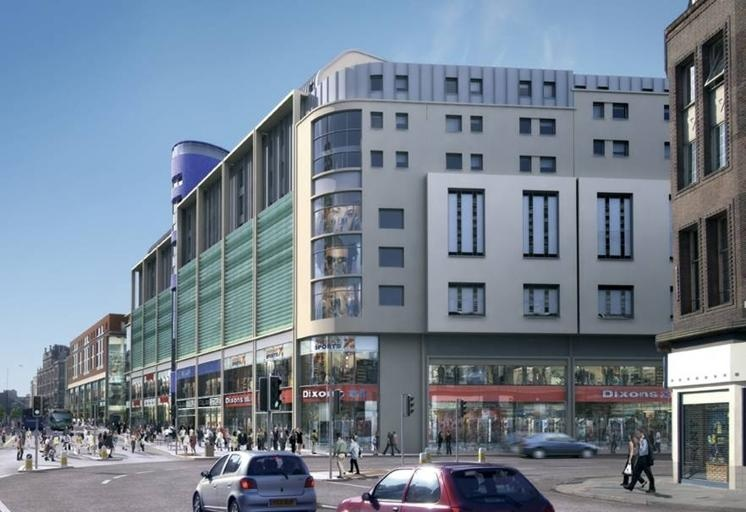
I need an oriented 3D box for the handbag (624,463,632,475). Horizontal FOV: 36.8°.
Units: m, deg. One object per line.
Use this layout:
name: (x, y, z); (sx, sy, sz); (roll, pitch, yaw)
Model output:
handbag: (12.327, 10.186, 53.440); (0.424, 0.602, 0.410); (-7, -1, 25)
